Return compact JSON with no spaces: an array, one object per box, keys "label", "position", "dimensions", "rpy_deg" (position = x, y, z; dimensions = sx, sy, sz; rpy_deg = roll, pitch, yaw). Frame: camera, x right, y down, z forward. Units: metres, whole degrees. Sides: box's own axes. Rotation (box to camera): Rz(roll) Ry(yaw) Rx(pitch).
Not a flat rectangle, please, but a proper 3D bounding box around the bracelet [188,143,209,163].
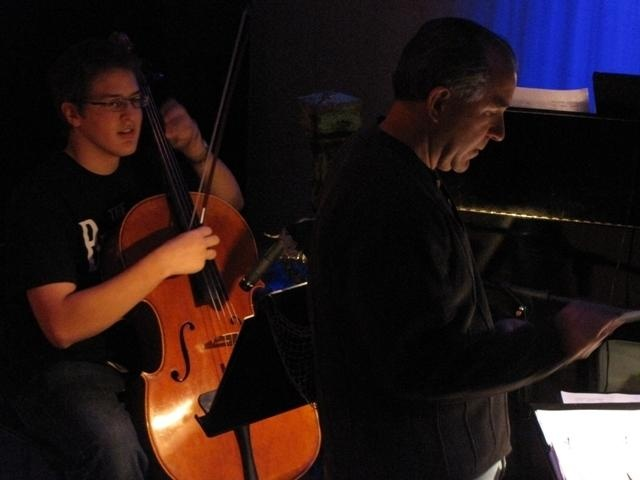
[{"label":"bracelet","position":[-0.537,-0.384,2.934],"dimensions":[0.088,0.086,0.022],"rpy_deg":[-25,55,-40]}]
